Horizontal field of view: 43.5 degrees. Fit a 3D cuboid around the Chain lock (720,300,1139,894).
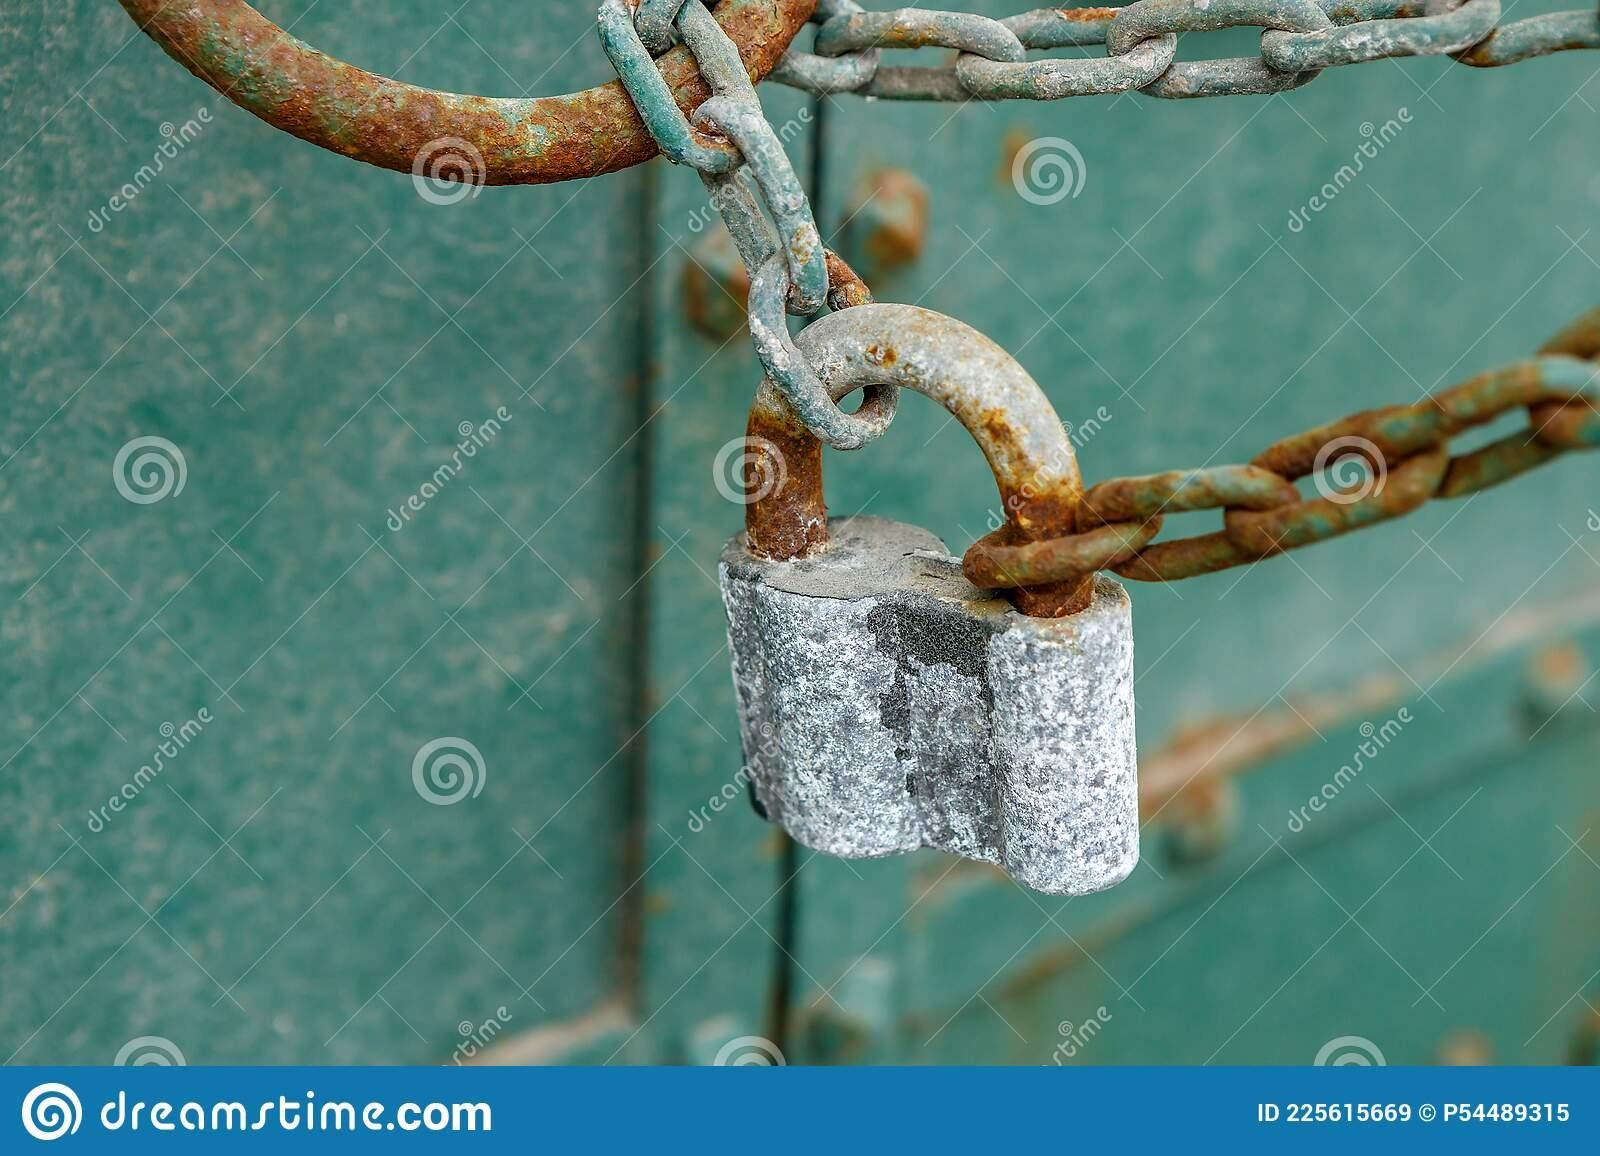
[{"bbox_3d":[0.116,0.001,2.086,0.433,0.590,0.206,11,28,29],"label":"Chain lock"}]
